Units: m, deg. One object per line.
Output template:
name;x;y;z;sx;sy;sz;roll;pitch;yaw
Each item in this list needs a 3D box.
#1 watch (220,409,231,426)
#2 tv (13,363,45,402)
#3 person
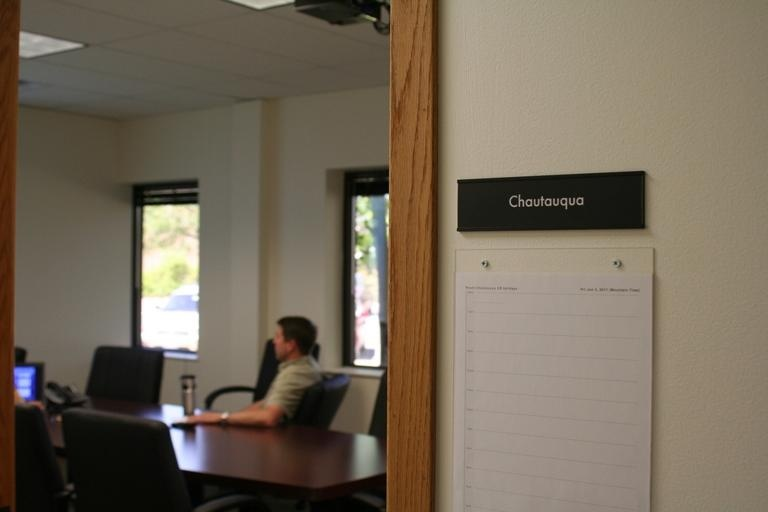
watch;-0.763;0.758;2.904;0.029;0.050;0.049;6;10;7
tv;-1.876;0.655;3.231;0.137;0.195;0.144;-4;4;-34
person;-0.670;0.609;3.266;0.547;0.847;0.515;14;-13;-35
